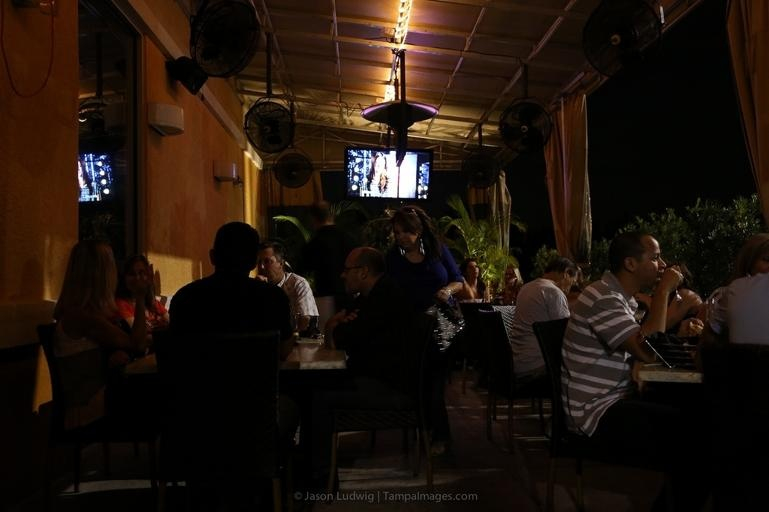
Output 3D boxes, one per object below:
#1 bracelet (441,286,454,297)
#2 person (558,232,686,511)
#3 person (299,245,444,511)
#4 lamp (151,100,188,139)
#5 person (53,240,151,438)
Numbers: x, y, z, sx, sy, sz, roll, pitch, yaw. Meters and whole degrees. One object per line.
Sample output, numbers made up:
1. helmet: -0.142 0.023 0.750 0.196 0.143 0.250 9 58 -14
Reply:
1. bracelet: 0.521 0.298 5.551 0.085 0.047 0.114 0 0 -4
2. person: 1.499 0.542 4.384 0.617 1.368 0.463 1 6 15
3. person: -0.128 0.820 4.802 0.957 1.724 0.386 -1 6 -7
4. lamp: -2.473 -1.538 7.456 0.332 0.324 0.355 -1 6 -7
5. person: -2.055 0.542 4.780 0.613 1.289 0.435 -4 6 -27
